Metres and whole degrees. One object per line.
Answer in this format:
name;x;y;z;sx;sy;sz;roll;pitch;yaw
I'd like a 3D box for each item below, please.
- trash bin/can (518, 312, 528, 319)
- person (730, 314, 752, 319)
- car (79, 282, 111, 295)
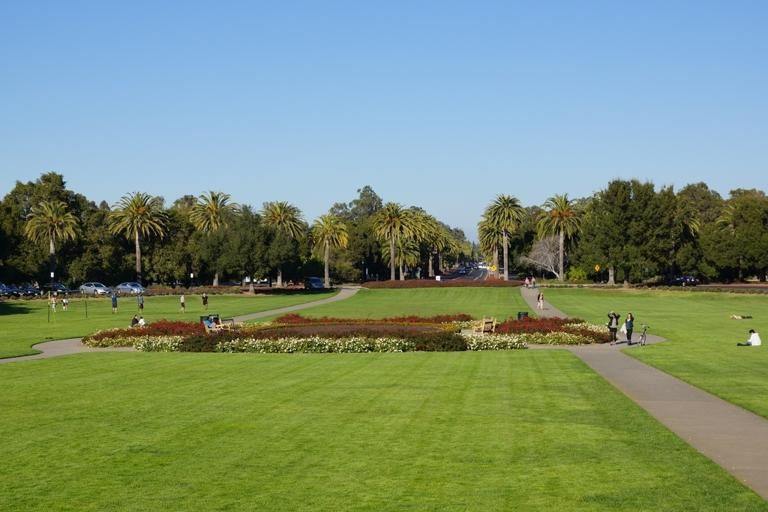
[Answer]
trash bin/can;9.988;4.314;42.884;0.750;0.660;0.717;0;-1;-16
person;29.289;4.951;48.558;1.253;0.382;2.163;2;3;39
car;-45.981;5.246;94.693;5.941;1.884;2.587;0;1;32
